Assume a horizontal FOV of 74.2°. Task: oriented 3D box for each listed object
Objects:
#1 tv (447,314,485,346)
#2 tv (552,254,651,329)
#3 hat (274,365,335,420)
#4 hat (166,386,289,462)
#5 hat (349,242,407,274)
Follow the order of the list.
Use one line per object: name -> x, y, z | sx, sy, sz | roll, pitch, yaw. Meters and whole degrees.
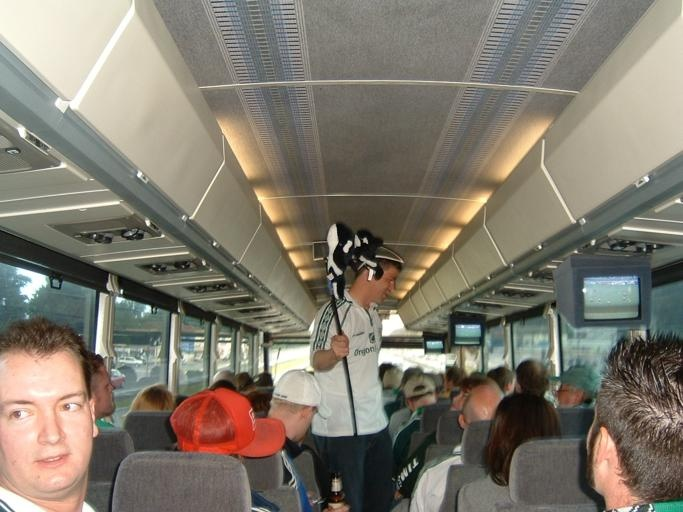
tv -> 3.236, 1.915, 11.719 | 0.788, 0.800, 0.437 | 2, -5, -9
tv -> 2.746, 0.394, 4.870 | 0.734, 0.742, 0.817 | 1, -12, -1
hat -> -0.283, 1.123, 3.702 | 0.324, 0.286, 0.476 | 9, -14, 37
hat -> -0.643, 0.891, 2.574 | 0.561, 0.312, 0.366 | 1, 12, -16
hat -> 0.358, 0.007, 4.353 | 0.474, 0.200, 0.495 | 2, 27, -11
